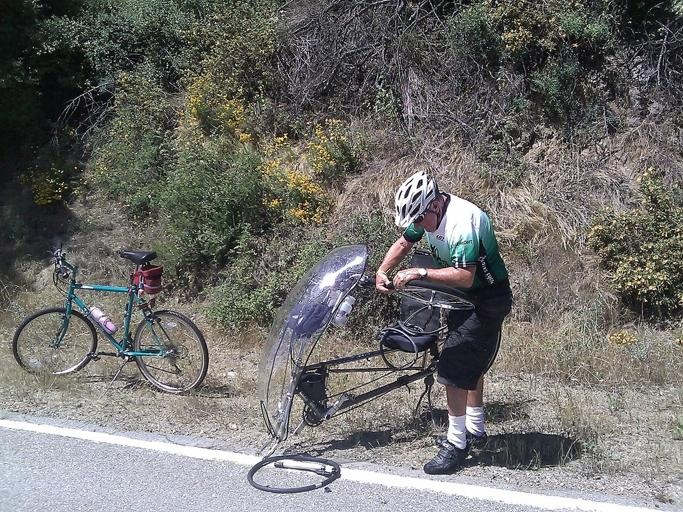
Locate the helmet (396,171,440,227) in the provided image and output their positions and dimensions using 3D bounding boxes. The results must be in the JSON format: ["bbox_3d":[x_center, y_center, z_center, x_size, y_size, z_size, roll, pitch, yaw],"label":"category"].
[{"bbox_3d":[0.836,-0.599,8.425,0.397,0.288,0.618,6,49,49],"label":"helmet"}]

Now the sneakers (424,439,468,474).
[{"bbox_3d":[1.177,2.290,8.529,0.601,0.288,0.235,-21,30,-35],"label":"sneakers"}]

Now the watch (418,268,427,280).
[{"bbox_3d":[0.887,0.203,8.281,0.101,0.119,0.033,0,1,-9],"label":"watch"}]

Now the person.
[{"bbox_3d":[1.224,0.743,8.540,1.323,3.340,0.846,4,9,15],"label":"person"}]

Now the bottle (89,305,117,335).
[{"bbox_3d":[-3.517,0.964,11.044,0.520,0.173,0.162,44,-16,20],"label":"bottle"}]

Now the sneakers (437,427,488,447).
[{"bbox_3d":[1.397,2.124,8.802,0.620,0.310,0.230,1,15,-6],"label":"sneakers"}]

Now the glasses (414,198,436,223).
[{"bbox_3d":[0.930,-0.490,8.416,0.128,0.267,0.182,19,-13,-7],"label":"glasses"}]
